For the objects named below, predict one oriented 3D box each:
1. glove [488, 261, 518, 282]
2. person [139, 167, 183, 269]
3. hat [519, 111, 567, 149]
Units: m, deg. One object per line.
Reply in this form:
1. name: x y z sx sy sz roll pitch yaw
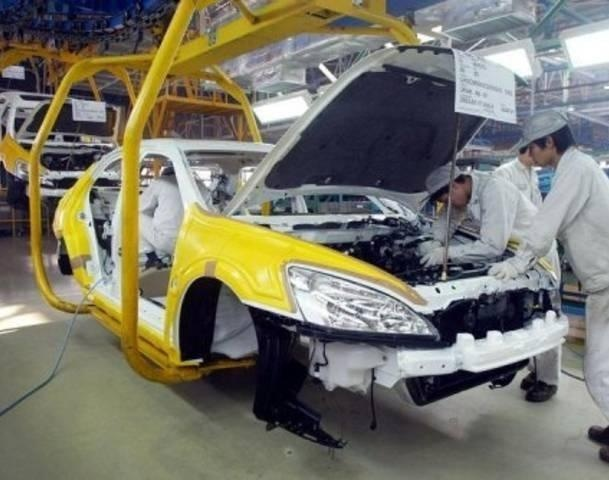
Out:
1. glove: 1.198 0.185 2.762 0.245 0.110 0.118 0 11 -9
2. person: -1.221 -0.199 3.923 0.330 0.842 0.745 -3 11 -20
3. hat: 1.519 -0.750 3.001 0.265 0.143 0.197 -21 17 25
